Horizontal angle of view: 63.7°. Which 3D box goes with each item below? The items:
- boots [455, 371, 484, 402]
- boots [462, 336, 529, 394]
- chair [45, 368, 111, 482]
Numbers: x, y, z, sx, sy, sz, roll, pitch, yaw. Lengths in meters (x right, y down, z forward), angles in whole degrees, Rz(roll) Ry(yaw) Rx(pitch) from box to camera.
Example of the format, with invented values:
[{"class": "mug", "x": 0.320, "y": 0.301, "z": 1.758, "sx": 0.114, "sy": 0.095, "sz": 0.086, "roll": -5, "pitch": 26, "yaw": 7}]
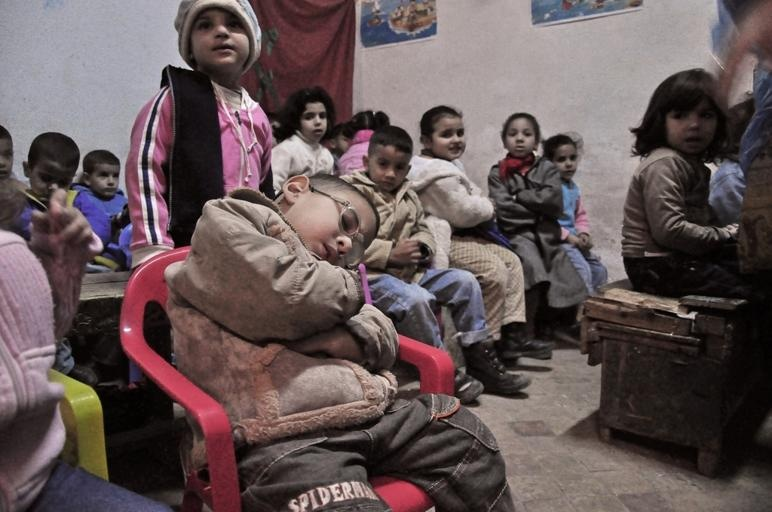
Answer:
[{"class": "boots", "x": 0.357, "y": 0.641, "z": 3.068, "sx": 0.228, "sy": 0.100, "sz": 0.113, "roll": 1, "pitch": 9, "yaw": 31}, {"class": "boots", "x": 0.567, "y": 0.566, "z": 3.205, "sx": 0.360, "sy": 0.251, "sz": 0.132, "roll": -4, "pitch": 11, "yaw": 35}, {"class": "chair", "x": -0.842, "y": 0.463, "z": 1.709, "sx": 0.126, "sy": 0.309, "sz": 0.259, "roll": -4, "pitch": 13, "yaw": -30}]
